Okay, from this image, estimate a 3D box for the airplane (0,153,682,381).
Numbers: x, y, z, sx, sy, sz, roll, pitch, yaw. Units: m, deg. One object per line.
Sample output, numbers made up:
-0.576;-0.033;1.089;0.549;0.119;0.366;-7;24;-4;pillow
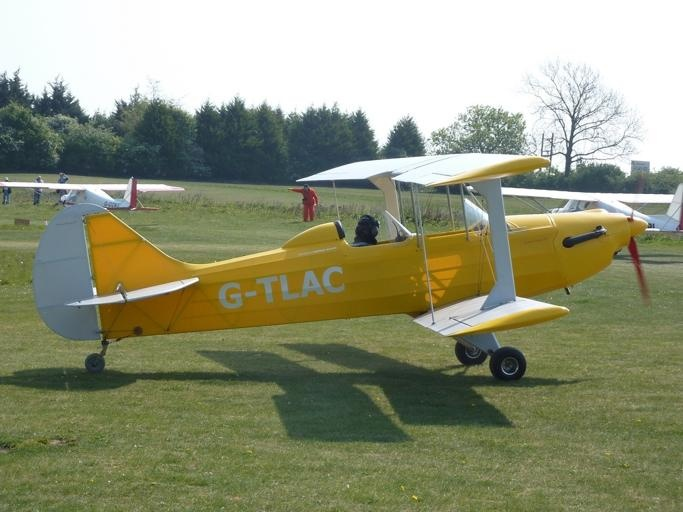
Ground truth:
0.071;0.323;13.127;5.728;1.559;5.403;-4;7;-15;airplane
